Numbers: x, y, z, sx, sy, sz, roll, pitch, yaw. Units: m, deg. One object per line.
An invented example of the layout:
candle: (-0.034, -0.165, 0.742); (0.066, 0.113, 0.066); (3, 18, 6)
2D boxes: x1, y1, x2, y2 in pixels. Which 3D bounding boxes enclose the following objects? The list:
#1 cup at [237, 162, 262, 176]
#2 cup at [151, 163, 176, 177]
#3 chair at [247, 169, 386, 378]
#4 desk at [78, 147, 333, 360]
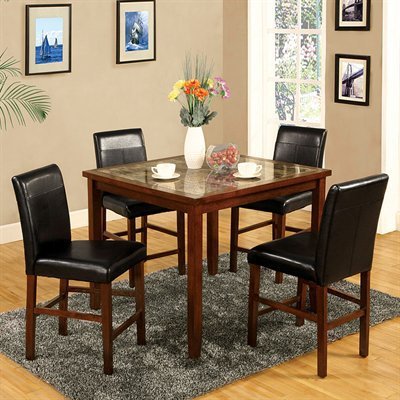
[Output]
cup: (0.268, -0.167, 2.155); (0.091, 0.056, 0.120); (-2, -2, 8)
cup: (-0.196, -0.161, 2.149); (0.118, 0.061, 0.097); (-1, 8, 18)
chair: (0.510, 0.294, 1.800); (0.421, 0.838, 0.478); (-7, 12, -37)
desk: (0.022, -0.030, 2.363); (1.190, 1.019, 1.038); (-11, 15, -42)
